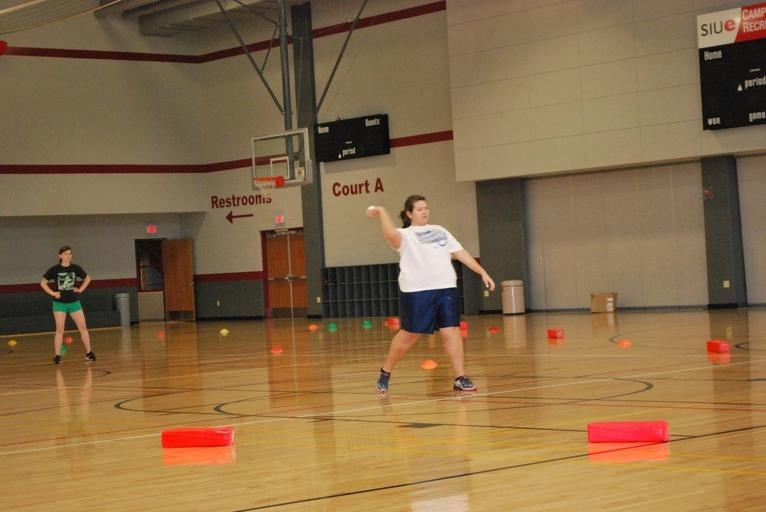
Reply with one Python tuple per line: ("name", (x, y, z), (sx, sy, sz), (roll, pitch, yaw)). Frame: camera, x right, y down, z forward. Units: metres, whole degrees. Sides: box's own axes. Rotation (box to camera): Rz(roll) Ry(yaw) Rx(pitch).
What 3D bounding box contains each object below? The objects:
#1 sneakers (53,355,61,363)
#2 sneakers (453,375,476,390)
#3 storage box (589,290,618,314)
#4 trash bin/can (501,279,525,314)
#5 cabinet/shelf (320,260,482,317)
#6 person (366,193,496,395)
("sneakers", (-6.080, 1.921, 11.669), (0.096, 0.084, 0.203), (1, -8, -14))
("sneakers", (0.823, 1.307, 6.436), (0.255, 0.133, 0.111), (-4, -5, 41))
("storage box", (6.144, 1.271, 17.383), (0.758, 0.553, 0.617), (-5, -2, 18))
("trash bin/can", (3.782, 1.172, 18.085), (0.645, 0.889, 0.452), (-5, -2, 4))
("cabinet/shelf", (0.534, 1.125, 20.641), (5.241, 1.804, 0.500), (-2, 5, -2))
("person", (0.476, 0.381, 6.417), (1.171, 1.732, 0.935), (-4, -2, -6))
